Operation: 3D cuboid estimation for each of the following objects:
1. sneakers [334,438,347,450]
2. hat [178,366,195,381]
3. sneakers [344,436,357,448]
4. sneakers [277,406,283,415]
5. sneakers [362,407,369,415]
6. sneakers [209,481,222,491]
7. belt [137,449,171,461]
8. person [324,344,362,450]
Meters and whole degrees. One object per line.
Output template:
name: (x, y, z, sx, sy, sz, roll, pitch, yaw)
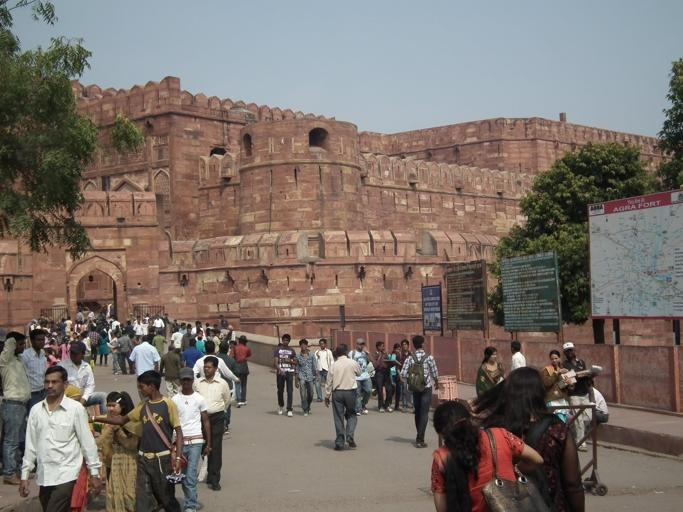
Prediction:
sneakers: (-0.020, 2.789, 11.254, 0.113, 0.223, 0.225, 1, 3, -8)
hat: (-1.753, 1.350, 8.629, 0.156, 0.116, 0.249, -2, 1, -14)
sneakers: (0.133, 2.809, 11.352, 0.087, 0.104, 0.270, -8, -42, 3)
sneakers: (-1.188, 2.998, 14.673, 0.106, 0.142, 0.324, 1, -14, -7)
sneakers: (0.449, 3.028, 14.761, 0.157, 0.107, 0.229, 1, 0, 6)
sneakers: (-1.566, 2.862, 9.419, 0.128, 0.083, 0.077, -2, -1, 5)
belt: (-1.829, 1.953, 7.474, 0.308, 0.087, 0.073, -2, 1, -17)
person: (0.019, 2.199, 11.323, 0.486, 0.898, 0.393, -2, 1, -2)
